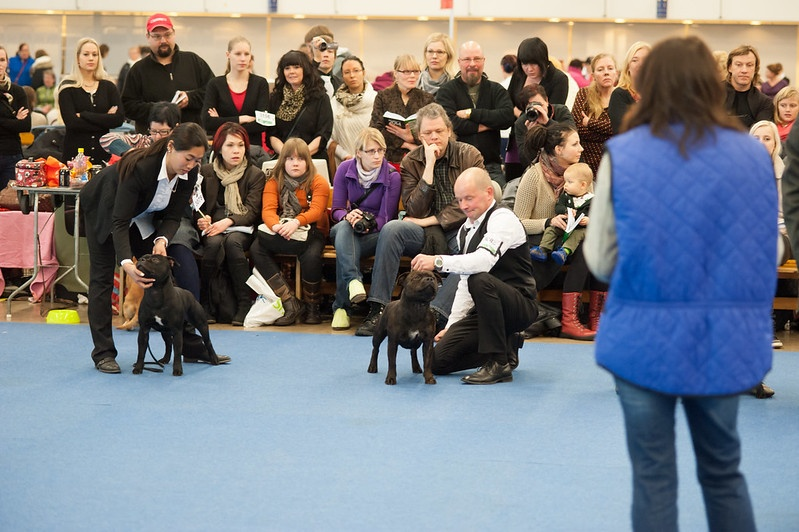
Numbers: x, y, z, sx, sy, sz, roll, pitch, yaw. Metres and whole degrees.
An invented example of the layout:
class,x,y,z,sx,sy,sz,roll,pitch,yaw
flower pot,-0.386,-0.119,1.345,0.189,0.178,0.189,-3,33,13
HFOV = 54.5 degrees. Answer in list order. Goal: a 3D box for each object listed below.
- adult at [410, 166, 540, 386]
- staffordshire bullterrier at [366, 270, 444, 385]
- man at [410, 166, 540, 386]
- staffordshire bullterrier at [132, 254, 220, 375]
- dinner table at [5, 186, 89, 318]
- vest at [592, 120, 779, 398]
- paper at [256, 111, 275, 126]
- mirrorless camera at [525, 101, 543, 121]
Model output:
class,x,y,z,sx,sy,sz,roll,pitch,yaw
adult,0.600,0.078,5.584,0.775,1.555,0.657,2,10,9
staffordshire bullterrier,0.052,0.421,5.579,0.467,0.850,0.645,-2,10,-14
man,0.602,0.078,5.584,0.770,1.555,0.657,2,10,9
staffordshire bullterrier,-1.697,0.339,5.799,0.358,0.904,0.564,7,12,35
dinner table,-3.685,-0.189,7.949,0.866,1.270,1.383,-4,10,-22
vest,1.100,-0.037,3.082,0.742,0.980,0.554,0,2,-18
paper,-1.382,-1.516,7.979,0.191,0.169,0.014,8,-31,-16
mirrorless camera,1.269,-1.463,7.352,0.151,0.186,0.201,2,10,7
